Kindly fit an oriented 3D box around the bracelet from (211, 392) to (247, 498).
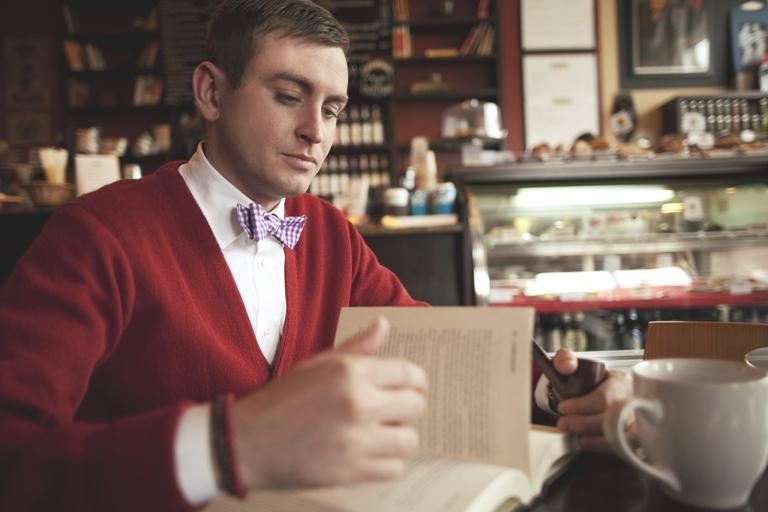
[{"bbox_3d":[-0.496,0.601,2.356,0.086,0.283,0.081,-5,2,-30],"label":"bracelet"}]
